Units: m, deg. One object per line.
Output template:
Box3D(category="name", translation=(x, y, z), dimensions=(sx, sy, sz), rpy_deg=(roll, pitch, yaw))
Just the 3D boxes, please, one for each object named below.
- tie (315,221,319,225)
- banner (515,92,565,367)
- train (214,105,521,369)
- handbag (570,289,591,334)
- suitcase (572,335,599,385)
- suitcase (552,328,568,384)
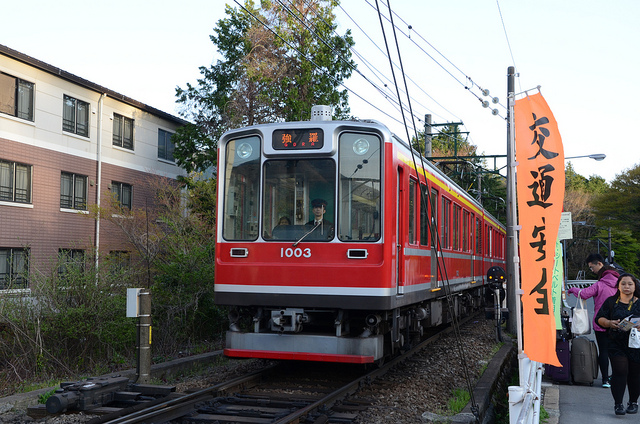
Box3D(category="tie", translation=(-0.048, 0.203, 9.497), dimensions=(0.078, 0.062, 0.011), rpy_deg=(1, -18, 19))
Box3D(category="banner", translation=(2.774, 0.252, 6.843), dimensions=(0.617, 3.680, 0.160), rpy_deg=(-6, 12, 1))
Box3D(category="train", translation=(1.212, 0.608, 11.211), dimensions=(2.586, 5.019, 6.182), rpy_deg=(-1, -3, 42))
Box3D(category="handbag", translation=(4.803, 1.852, 9.957), dimensions=(0.305, 0.844, 0.618), rpy_deg=(0, -2, 26))
Box3D(category="suitcase", translation=(5.103, 2.823, 10.427), dimensions=(0.479, 0.792, 0.559), rpy_deg=(-4, -3, 11))
Box3D(category="suitcase", translation=(4.655, 2.784, 10.459), dimensions=(0.266, 1.037, 0.595), rpy_deg=(0, -2, 25))
